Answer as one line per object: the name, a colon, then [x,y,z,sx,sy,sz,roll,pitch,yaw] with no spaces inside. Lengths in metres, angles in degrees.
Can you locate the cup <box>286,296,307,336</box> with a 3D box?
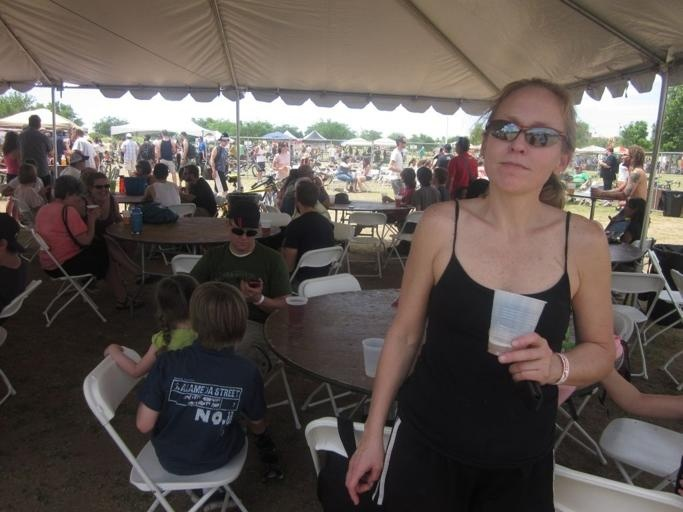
cup: [-0.271,0.331,3.185,0.132,0.168,0.132,2,7,0]

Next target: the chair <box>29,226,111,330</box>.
chair: [-2.975,0.075,5.714,0.559,1.009,1.348,-9,16,-31]

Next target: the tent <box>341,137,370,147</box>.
tent: [0.800,-6.585,30.046,1.641,0.557,1.745,4,9,6]

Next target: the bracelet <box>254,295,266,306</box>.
bracelet: [-0.548,0.290,3.570,0.055,0.025,0.065,-33,14,23]

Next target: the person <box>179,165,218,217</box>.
person: [-2.332,-1.031,8.462,0.621,0.947,0.660,-9,20,-21]

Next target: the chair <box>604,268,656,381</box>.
chair: [2.525,0.586,4.850,0.530,0.929,0.706,4,3,13]

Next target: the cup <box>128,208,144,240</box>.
cup: [-2.146,-0.378,5.522,0.113,0.242,0.367,-6,15,-23]

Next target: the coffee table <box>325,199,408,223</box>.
coffee table: [0.559,-0.765,8.493,0.685,0.197,0.723,4,18,12]

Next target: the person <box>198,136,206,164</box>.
person: [-5.025,-3.814,19.016,0.308,0.938,0.930,-4,14,-14]

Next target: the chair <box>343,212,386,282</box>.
chair: [0.335,-0.247,7.755,0.607,0.969,0.739,6,14,10]

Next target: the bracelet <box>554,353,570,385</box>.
bracelet: [0.769,0.390,1.826,0.031,0.093,0.066,-2,-3,13]

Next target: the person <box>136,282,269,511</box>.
person: [-0.745,0.770,3.043,0.868,1.307,0.657,-5,17,-37]

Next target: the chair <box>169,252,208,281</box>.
chair: [-1.295,0.068,4.472,0.229,0.329,0.223,-1,3,-27]

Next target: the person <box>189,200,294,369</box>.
person: [-0.757,0.259,3.905,0.700,1.380,0.702,6,17,1]

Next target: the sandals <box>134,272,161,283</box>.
sandals: [-2.387,0.264,6.542,0.169,0.042,0.179,0,17,-4]

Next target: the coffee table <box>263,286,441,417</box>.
coffee table: [-0.014,0.489,3.369,0.976,0.267,1.012,-15,17,-23]
